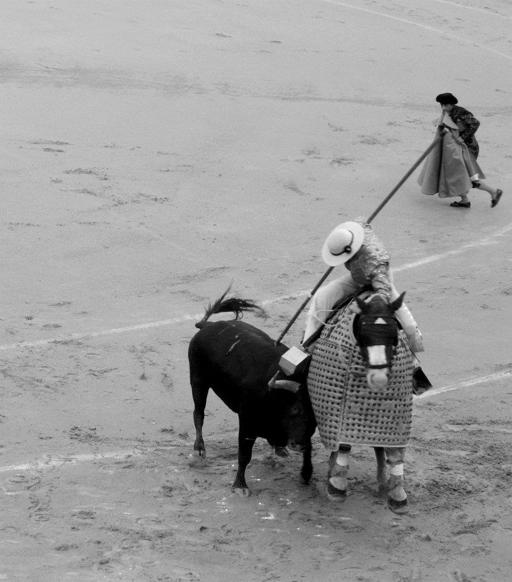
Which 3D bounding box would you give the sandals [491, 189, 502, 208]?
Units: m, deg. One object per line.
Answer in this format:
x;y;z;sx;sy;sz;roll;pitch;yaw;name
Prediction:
3.434;-1.289;13.332;0.121;0.301;0.120;2;43;-7;sandals

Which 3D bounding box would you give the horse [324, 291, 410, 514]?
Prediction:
0.736;0.702;5.998;0.536;1.442;0.886;2;9;4;horse

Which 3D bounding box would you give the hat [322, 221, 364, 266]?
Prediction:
0.572;-0.298;6.112;0.267;0.293;0.293;1;8;3;hat

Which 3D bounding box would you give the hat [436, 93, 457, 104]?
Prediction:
2.378;-2.388;11.867;0.176;0.156;0.482;5;8;28;hat

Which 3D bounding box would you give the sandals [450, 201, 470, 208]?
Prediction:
2.923;-1.227;13.514;0.230;0.052;0.105;4;2;-8;sandals
